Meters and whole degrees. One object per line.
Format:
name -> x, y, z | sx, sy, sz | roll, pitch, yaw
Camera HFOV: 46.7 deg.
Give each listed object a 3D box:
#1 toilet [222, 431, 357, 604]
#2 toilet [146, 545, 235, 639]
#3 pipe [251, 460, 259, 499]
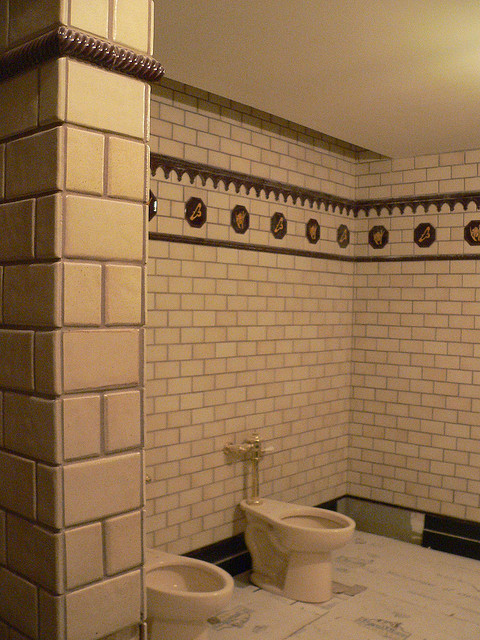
toilet -> 0.322, 1.177, 3.284 | 0.723, 0.853, 0.447 | 0, -3, 36
toilet -> -0.242, 1.317, 2.485 | 0.354, 0.442, 0.580 | 1, -3, -9
pipe -> 0.087, 0.967, 3.358 | 0.034, 0.237, 0.043 | 1, -3, 1
